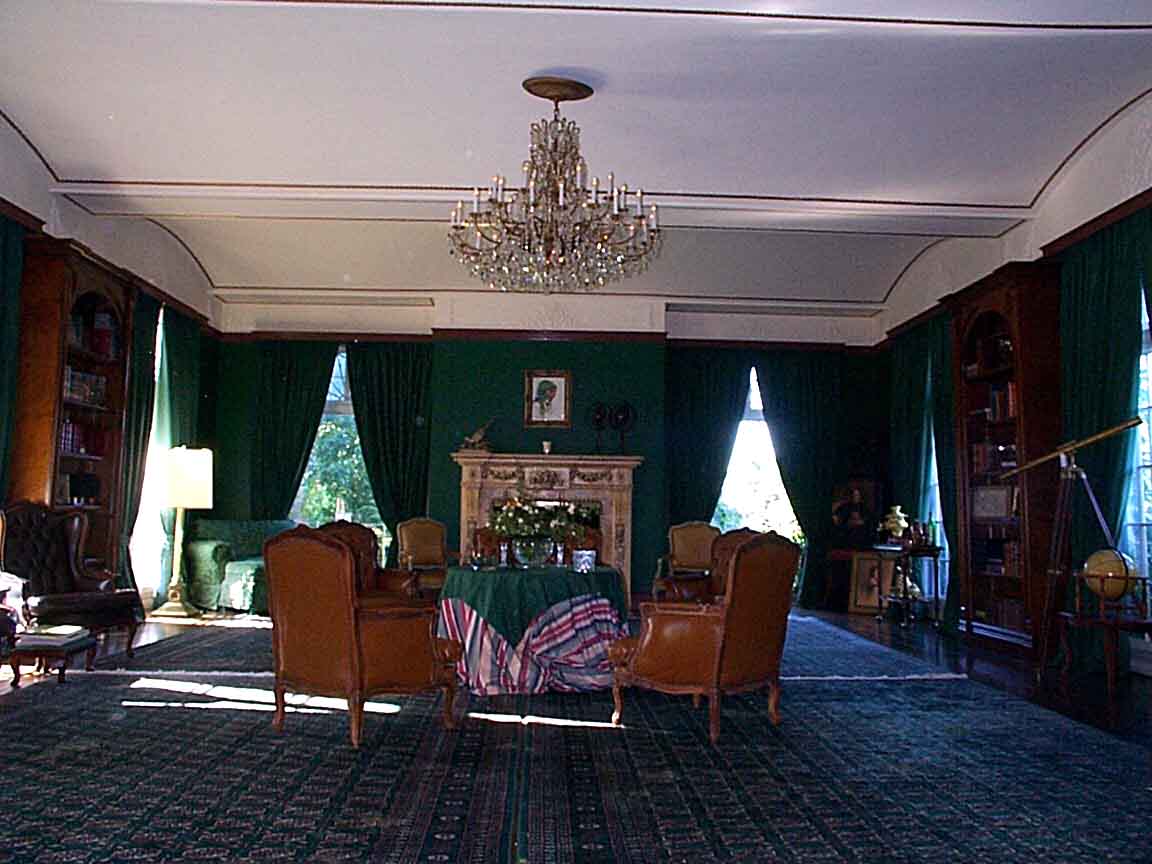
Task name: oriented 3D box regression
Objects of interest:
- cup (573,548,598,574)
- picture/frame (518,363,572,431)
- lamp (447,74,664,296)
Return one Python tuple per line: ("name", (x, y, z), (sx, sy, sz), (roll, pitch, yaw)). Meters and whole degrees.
("cup", (0.077, 1.011, 6.894), (0.156, 0.131, 0.168), (0, -5, 0))
("picture/frame", (-0.393, -0.401, 11.034), (0.725, 0.987, 0.063), (0, 0, 0))
("lamp", (-0.134, -2.060, 7.230), (1.540, 1.628, 1.683), (-3, 5, -30))
